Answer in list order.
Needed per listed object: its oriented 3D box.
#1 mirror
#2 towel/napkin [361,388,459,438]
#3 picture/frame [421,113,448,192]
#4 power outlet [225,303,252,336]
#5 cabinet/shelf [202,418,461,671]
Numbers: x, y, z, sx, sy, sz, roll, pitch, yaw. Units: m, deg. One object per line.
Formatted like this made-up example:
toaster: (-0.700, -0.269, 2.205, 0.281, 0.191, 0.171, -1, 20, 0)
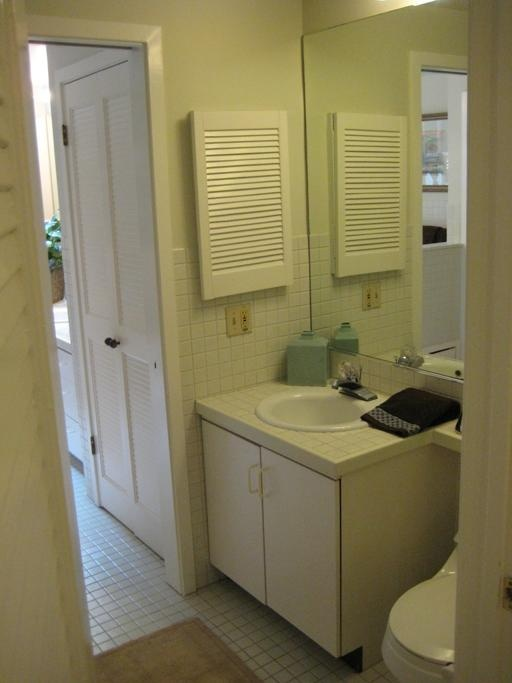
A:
mirror: (0.437, -0.569, 2.054, 0.171, 1.289, 0.785, -6, 10, -26)
towel/napkin: (0.565, 0.250, 1.953, 0.271, 0.088, 0.280, -17, 10, -22)
picture/frame: (0.605, -0.636, 1.850, 0.024, 0.260, 0.130, -5, 10, -20)
power outlet: (-0.079, -0.093, 2.272, 0.110, 0.141, 0.013, -7, 13, -36)
cabinet/shelf: (0.270, 0.714, 2.164, 0.648, 0.821, 0.836, -3, 6, -29)
